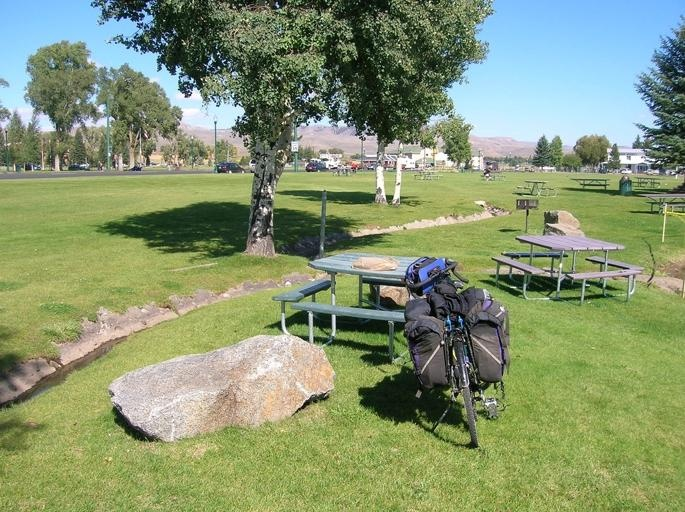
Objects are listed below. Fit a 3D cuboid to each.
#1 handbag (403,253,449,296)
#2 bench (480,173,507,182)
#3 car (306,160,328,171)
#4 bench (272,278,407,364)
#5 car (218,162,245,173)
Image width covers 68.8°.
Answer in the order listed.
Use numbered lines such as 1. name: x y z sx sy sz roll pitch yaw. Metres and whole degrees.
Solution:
1. handbag: 1.420 0.282 8.368 0.657 0.292 0.669 1 29 42
2. bench: 23.681 -12.495 79.147 2.732 0.914 25.882 5 12 15
3. car: -4.548 -14.831 85.247 1.867 1.480 4.313 10 20 29
4. bench: -0.195 1.217 10.969 2.542 1.144 3.551 1 12 -2
5. car: -16.294 -12.351 71.175 1.526 1.182 4.338 9 14 32
